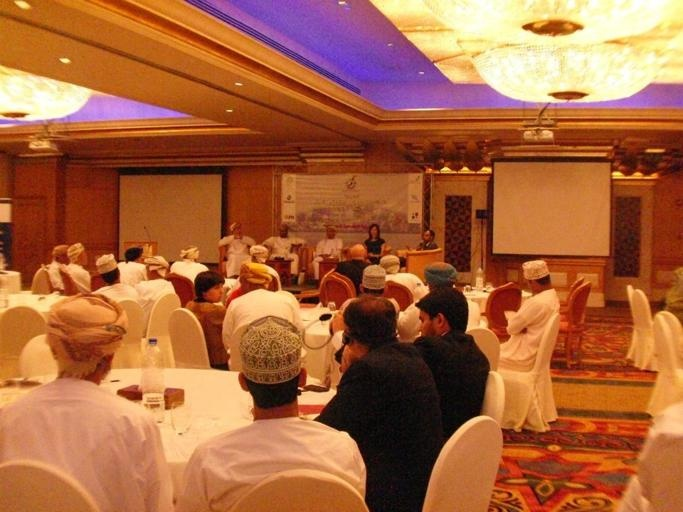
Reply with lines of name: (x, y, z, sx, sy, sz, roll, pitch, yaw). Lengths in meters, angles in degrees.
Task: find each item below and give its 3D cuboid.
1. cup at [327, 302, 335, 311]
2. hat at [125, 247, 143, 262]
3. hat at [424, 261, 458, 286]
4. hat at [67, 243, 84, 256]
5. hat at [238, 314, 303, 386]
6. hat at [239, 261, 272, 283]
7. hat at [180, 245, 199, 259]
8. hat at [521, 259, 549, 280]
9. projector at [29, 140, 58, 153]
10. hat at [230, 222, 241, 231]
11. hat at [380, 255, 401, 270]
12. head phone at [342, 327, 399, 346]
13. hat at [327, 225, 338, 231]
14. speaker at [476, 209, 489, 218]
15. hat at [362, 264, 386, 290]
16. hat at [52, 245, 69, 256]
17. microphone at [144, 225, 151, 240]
cup: (-0.125, 0.503, 5.067, 0.110, 0.107, 0.103, 1, -7, 0)
hat: (-3.238, -0.022, 8.010, 0.214, 0.247, 0.269, 8, 16, 34)
hat: (0.891, 0.158, 4.610, 0.200, 0.188, 0.249, 1, 7, -15)
hat: (-4.129, -0.086, 7.964, 0.203, 0.099, 0.258, -12, 21, -9)
hat: (-0.227, 0.288, 1.610, 0.189, 0.174, 0.194, -1, 1, -11)
hat: (-0.664, 0.126, 4.011, 0.202, 0.106, 0.173, 2, 2, 22)
hat: (-2.904, -0.065, 9.834, 0.431, 0.233, 0.352, 8, 0, 9)
hat: (1.962, 0.139, 5.229, 0.246, 0.139, 0.236, -8, 1, -8)
projector: (-5.025, -1.837, 8.821, 0.431, 0.144, 0.403, 1, -3, 9)
hat: (-2.549, -0.729, 12.342, 0.272, 0.165, 0.281, 3, -11, -22)
hat: (0.636, 0.093, 6.753, 0.180, 0.174, 0.231, 2, 14, -2)
head phone: (0.132, 0.348, 2.244, 0.121, 0.052, 0.146, 1, -1, -22)
hat: (-0.226, -0.630, 11.799, 0.154, 0.174, 0.188, 2, 7, 13)
speaker: (3.269, -0.946, 11.900, 0.344, 0.228, 0.182, -3, -7, 37)
hat: (0.273, 0.176, 4.203, 0.146, 0.136, 0.217, 1, 0, 0)
hat: (-4.722, -0.092, 8.618, 0.290, 0.111, 0.388, 1, 9, -15)
microphone: (-5.262, -0.599, 13.862, 0.123, 0.392, 0.036, -19, -8, -21)
